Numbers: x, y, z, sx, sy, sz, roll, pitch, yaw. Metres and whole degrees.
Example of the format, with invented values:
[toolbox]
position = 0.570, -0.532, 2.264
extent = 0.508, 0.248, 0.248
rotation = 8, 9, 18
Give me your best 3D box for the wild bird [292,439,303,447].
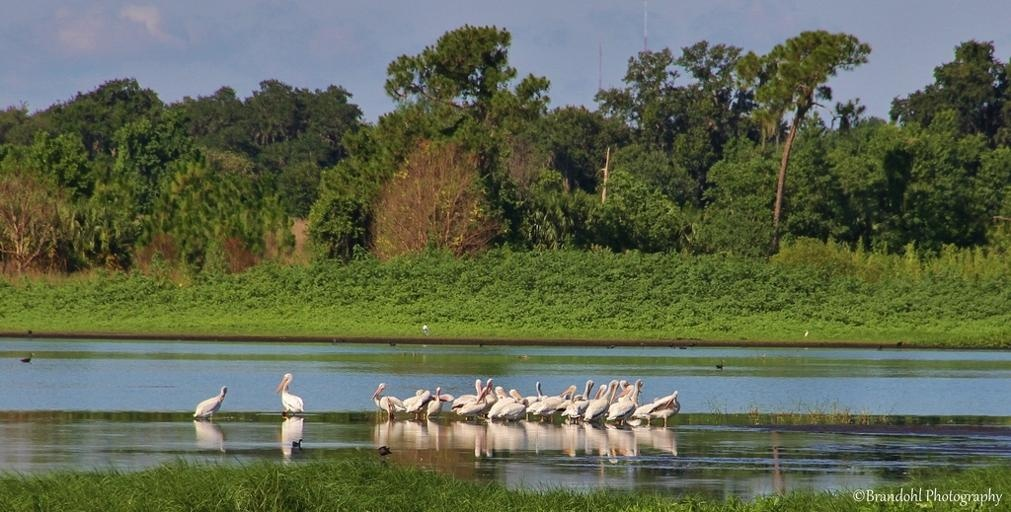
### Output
[wild bird]
position = -16.282, 14.277, 161.132
extent = 0.547, 0.639, 0.785
rotation = -7, -11, 37
